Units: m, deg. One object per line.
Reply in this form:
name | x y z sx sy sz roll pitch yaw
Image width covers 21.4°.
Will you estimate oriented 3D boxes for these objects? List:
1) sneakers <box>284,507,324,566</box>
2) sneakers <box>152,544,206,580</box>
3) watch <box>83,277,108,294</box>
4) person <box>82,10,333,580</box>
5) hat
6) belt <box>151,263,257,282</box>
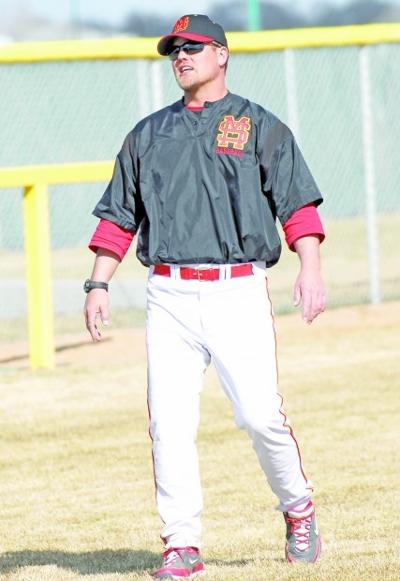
sneakers | 0.382 0.908 3.850 0.077 0.254 0.097 -4 -19 7
sneakers | -0.075 0.951 3.702 0.079 0.097 0.203 -7 -5 29
watch | -0.386 -0.008 3.876 0.072 0.050 0.077 4 0 5
person | 0.016 0.000 3.811 0.867 1.985 0.596 -4 7 -8
hat | -0.020 -0.953 3.947 0.272 0.148 0.216 5 -5 -33
belt | 0.013 -0.063 3.748 0.353 0.061 0.077 -2 8 5
